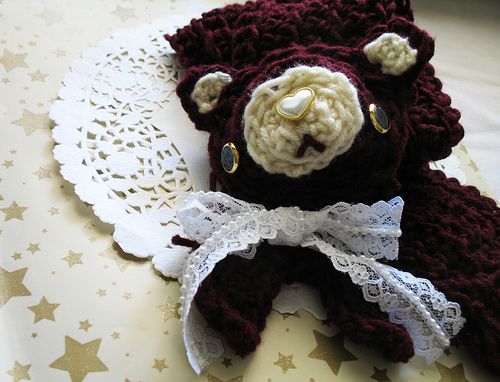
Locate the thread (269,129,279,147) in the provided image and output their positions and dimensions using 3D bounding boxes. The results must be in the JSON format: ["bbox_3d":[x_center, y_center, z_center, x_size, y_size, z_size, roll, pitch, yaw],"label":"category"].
[{"bbox_3d":[0.052,-0.122,1.410,0.019,0.008,0.030,-20,88,36],"label":"thread"}]

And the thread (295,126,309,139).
[{"bbox_3d":[0.110,-0.131,1.395,0.018,0.021,0.008,-10,30,24],"label":"thread"}]
